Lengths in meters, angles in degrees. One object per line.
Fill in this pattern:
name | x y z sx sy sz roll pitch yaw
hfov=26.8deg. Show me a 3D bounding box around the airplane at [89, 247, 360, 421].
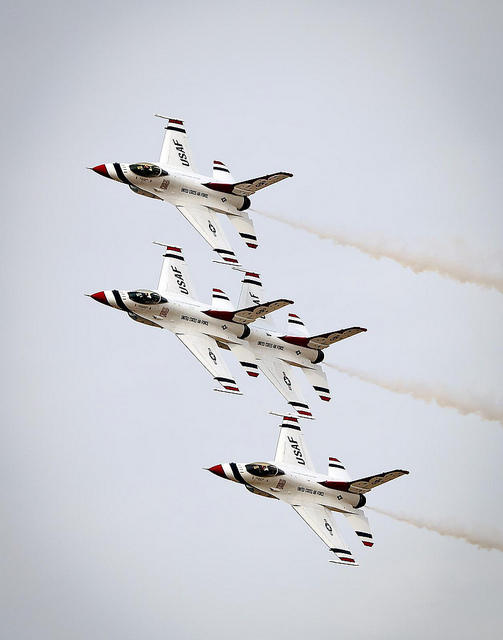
airplane | -0.336 -0.060 14.899 3.686 1.158 3.103 19 -7 -16
